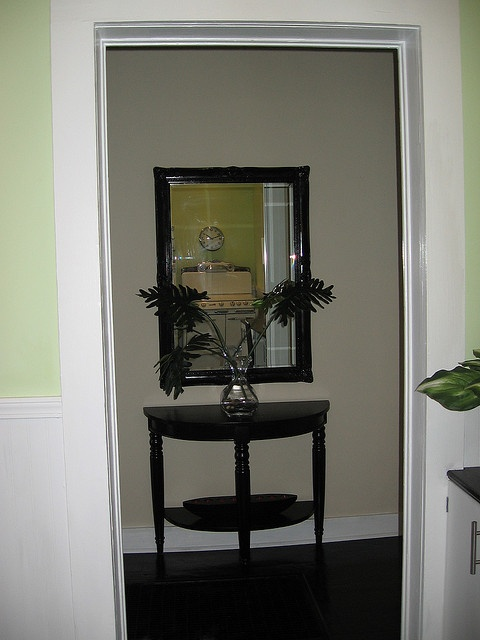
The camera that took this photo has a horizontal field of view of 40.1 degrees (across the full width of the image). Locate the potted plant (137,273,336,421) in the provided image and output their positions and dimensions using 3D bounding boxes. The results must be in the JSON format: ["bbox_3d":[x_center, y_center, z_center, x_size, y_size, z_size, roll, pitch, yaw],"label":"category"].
[{"bbox_3d":[-0.062,0.072,2.565,0.528,0.453,0.614,0,-2,-30],"label":"potted plant"}]

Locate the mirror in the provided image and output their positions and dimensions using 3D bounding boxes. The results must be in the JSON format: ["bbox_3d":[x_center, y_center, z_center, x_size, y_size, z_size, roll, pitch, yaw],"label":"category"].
[{"bbox_3d":[-0.024,-0.194,2.624,0.764,1.140,0.052,-1,5,1],"label":"mirror"}]

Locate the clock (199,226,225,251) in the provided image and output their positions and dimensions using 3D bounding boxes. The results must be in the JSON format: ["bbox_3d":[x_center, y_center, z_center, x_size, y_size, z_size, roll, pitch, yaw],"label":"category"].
[{"bbox_3d":[-0.117,-0.334,2.656,0.086,0.097,0.009,-3,14,-15],"label":"clock"}]
